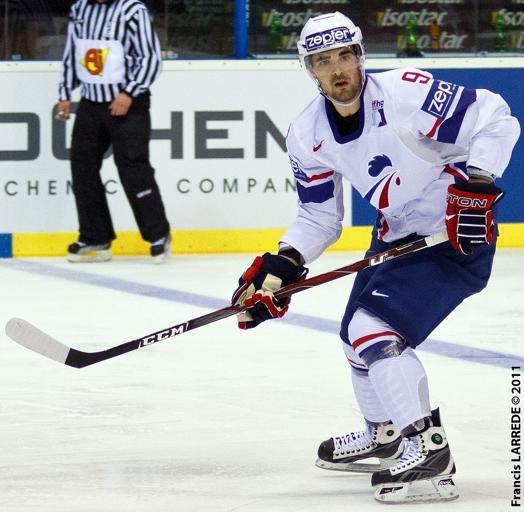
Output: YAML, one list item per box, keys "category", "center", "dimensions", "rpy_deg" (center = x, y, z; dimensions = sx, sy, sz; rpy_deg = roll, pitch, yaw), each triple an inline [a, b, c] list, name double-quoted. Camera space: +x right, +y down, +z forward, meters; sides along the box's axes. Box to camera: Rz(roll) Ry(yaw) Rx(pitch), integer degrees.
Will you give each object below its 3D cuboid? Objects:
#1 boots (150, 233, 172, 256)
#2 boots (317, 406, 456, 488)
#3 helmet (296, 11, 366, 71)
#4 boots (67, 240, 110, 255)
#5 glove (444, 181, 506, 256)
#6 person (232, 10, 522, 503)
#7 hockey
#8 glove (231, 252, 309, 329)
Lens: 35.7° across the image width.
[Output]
- category: "boots"
  center: [-0.656, -0.056, 5.283]
  dimensions: [0.120, 0.103, 0.149]
  rpy_deg: [-7, -3, -2]
- category: "boots"
  center: [0.296, 0.458, 1.909]
  dimensions: [0.258, 0.124, 0.266]
  rpy_deg: [3, -8, -15]
- category: "helmet"
  center: [0.154, -0.518, 1.994]
  dimensions: [0.129, 0.122, 0.149]
  rpy_deg: [-17, -10, 8]
- category: "boots"
  center: [-1.145, -0.049, 5.350]
  dimensions: [0.295, 0.085, 0.097]
  rpy_deg: [2, -4, -24]
- category: "glove"
  center: [0.474, -0.084, 1.832]
  dimensions: [0.121, 0.159, 0.060]
  rpy_deg: [1, 10, 10]
- category: "person"
  center: [0.310, -0.018, 1.978]
  dimensions: [0.511, 1.132, 0.619]
  rpy_deg: [-9, 12, -38]
- category: "hockey"
  center: [-0.239, 0.174, 3.214]
  dimensions: [1.668, 0.186, 0.109]
  rpy_deg: [-15, 17, 8]
- category: "glove"
  center: [0.002, 0.083, 2.049]
  dimensions: [0.201, 0.081, 0.193]
  rpy_deg: [-35, -6, -2]
